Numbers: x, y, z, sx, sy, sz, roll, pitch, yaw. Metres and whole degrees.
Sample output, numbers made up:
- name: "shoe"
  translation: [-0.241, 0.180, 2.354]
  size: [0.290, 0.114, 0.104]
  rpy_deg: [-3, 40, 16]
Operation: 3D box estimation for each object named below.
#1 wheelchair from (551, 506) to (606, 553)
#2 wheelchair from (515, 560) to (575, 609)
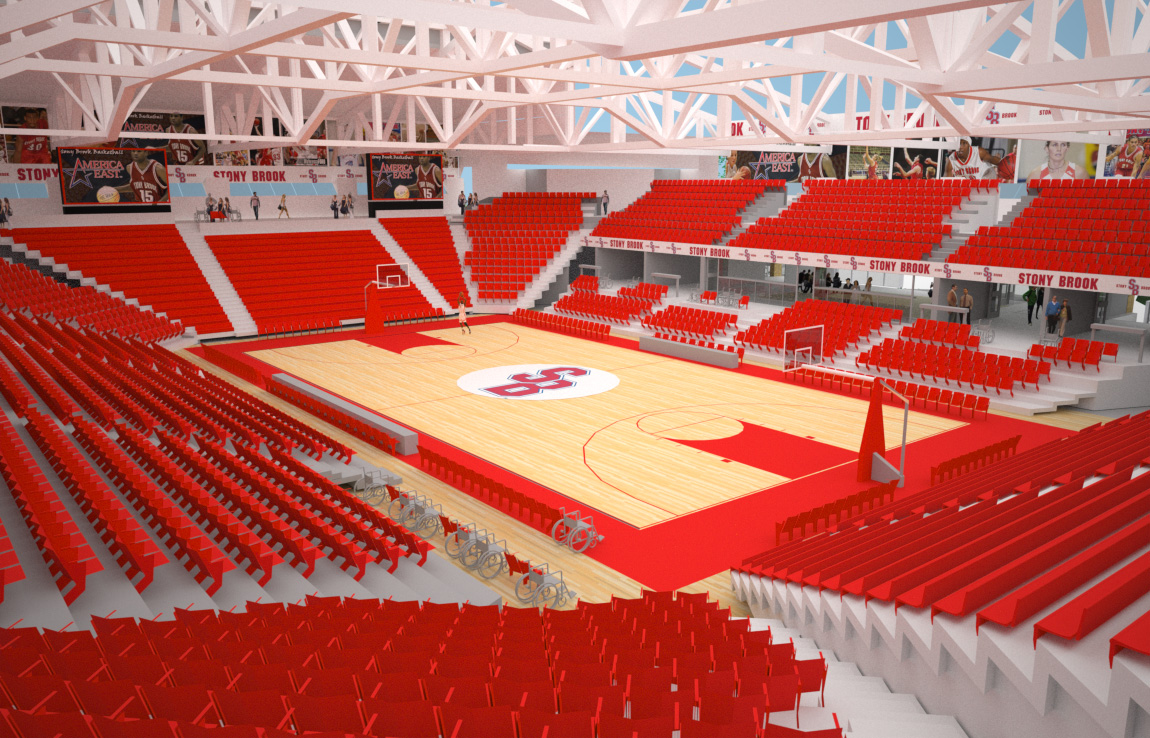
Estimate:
- name: "wheelchair"
  translation: [0.140, 2.717, 12.013]
  size: [0.859, 0.529, 0.600]
  rpy_deg: [-8, 13, -43]
- name: "wheelchair"
  translation: [-0.482, 3.278, 10.454]
  size: [0.847, 0.524, 0.522]
  rpy_deg: [-9, 16, -31]
